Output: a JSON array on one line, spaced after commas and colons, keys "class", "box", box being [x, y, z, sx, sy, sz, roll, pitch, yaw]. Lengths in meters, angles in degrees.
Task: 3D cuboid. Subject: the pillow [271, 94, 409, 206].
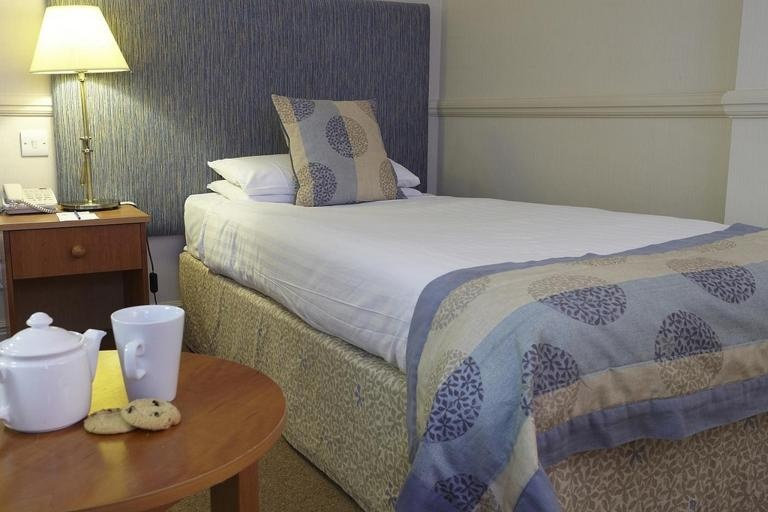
[{"class": "pillow", "box": [-0.223, -0.526, 2.842, 0.531, 0.518, 0.322, -9, 15, -26]}]

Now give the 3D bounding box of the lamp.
[{"class": "lamp", "box": [-1.354, -0.671, 2.642, 0.379, 0.897, 0.363, -9, 15, -26]}]

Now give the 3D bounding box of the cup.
[{"class": "cup", "box": [-0.484, 0.203, 1.291, 0.139, 0.208, 0.214, 1, 12, 2]}]

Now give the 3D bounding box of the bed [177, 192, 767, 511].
[{"class": "bed", "box": [0.038, 0.253, 1.823, 0.751, 0.351, 1.388, -4, 9, -31]}]
